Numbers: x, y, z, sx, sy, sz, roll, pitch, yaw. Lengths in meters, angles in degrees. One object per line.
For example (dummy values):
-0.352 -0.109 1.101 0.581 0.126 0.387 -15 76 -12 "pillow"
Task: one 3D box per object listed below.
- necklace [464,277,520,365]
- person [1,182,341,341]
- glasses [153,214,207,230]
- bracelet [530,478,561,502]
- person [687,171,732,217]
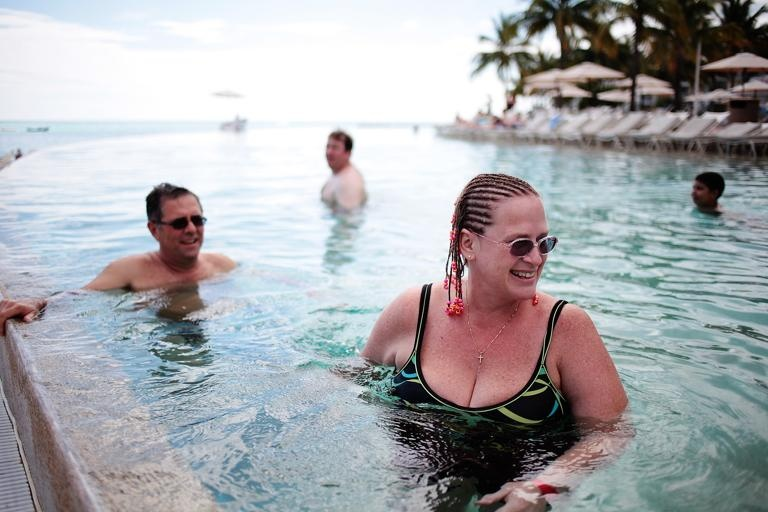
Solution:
0.639 0.473 3.398 0.295 0.399 0.042 22 -8 18 "necklace"
-2.448 0.067 6.228 2.417 0.833 0.630 -16 30 -43 "person"
-1.965 -0.332 5.455 0.470 0.137 0.179 -4 12 -20 "glasses"
0.874 1.251 2.986 0.112 0.056 0.090 -1 -7 5 "bracelet"
4.802 -0.911 8.188 0.362 0.594 0.548 0 13 2 "person"
